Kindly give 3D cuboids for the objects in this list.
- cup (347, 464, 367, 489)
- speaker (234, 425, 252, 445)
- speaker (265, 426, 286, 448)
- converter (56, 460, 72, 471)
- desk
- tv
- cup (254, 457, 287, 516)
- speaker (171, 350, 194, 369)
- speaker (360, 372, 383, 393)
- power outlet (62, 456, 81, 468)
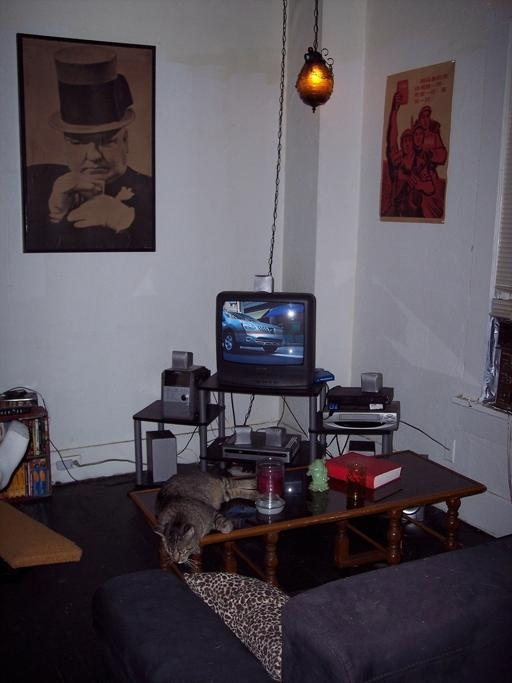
[{"bbox_3d":[0.406,0.539,2.279,0.075,0.098,0.085,0,-2,4],"label":"cup"},{"bbox_3d":[-0.073,0.546,3.343,0.102,0.107,0.089,0,1,0],"label":"speaker"},{"bbox_3d":[0.110,0.537,3.204,0.096,0.101,0.102,2,6,12],"label":"speaker"},{"bbox_3d":[-1.254,0.807,3.719,0.100,0.061,0.074,-3,0,-22],"label":"converter"},{"bbox_3d":[0.055,0.634,3.698,1.539,0.845,0.535,2,6,10],"label":"desk"},{"bbox_3d":[0.123,-0.009,3.620,0.800,0.782,0.493,2,5,12],"label":"tv"},{"bbox_3d":[0.055,0.562,2.189,0.149,0.251,0.152,0,-2,0],"label":"cup"},{"bbox_3d":[-0.471,0.116,3.655,0.102,0.121,0.109,0,8,16],"label":"speaker"},{"bbox_3d":[0.687,0.239,3.370,0.106,0.109,0.140,3,7,25],"label":"speaker"},{"bbox_3d":[-1.215,0.790,3.742,0.106,0.080,0.059,0,7,-29],"label":"power outlet"}]
